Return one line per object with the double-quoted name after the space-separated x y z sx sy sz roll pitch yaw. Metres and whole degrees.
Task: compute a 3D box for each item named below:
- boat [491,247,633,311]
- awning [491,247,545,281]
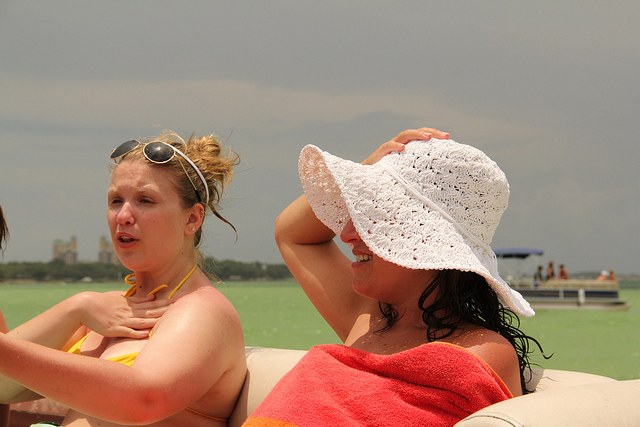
23.559 7.619 139.932 14.650 5.261 10.688 0 0 0 "boat"
22.313 6.597 154.813 4.662 5.318 7.901 -5 -3 10 "awning"
